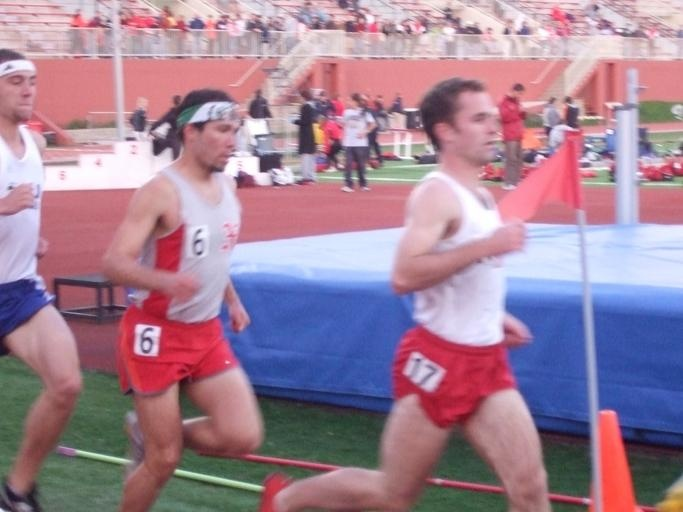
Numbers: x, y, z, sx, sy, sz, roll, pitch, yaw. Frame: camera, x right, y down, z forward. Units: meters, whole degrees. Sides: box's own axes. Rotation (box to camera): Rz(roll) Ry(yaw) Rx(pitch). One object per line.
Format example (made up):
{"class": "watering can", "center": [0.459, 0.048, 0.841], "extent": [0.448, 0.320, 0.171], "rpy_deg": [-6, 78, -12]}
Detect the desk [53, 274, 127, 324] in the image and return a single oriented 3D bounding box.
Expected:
{"class": "desk", "center": [-1.968, 0.340, 6.265], "extent": [0.472, 0.299, 0.479], "rpy_deg": [5, 6, 40]}

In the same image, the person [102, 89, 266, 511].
{"class": "person", "center": [-0.650, 0.179, 3.245], "extent": [0.586, 1.685, 0.499], "rpy_deg": [-4, 12, -16]}

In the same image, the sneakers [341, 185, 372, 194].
{"class": "sneakers", "center": [0.301, -1.350, 16.069], "extent": [0.611, 0.275, 0.203], "rpy_deg": [-3, 2, -6]}
